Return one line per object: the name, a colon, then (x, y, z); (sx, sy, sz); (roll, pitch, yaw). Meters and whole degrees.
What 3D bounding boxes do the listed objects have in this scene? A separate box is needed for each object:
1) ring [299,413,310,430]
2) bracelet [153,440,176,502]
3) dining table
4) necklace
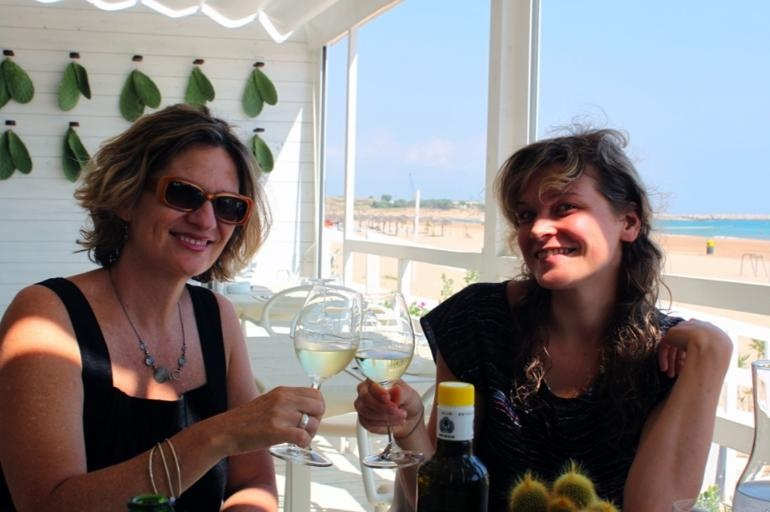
ring: (-0.191, 0.396, 1.506); (0.025, 0.032, 0.014); (1, 5, -8)
bracelet: (-0.520, 0.515, 1.486); (0.030, 0.112, 0.119); (-15, -8, -9)
dining table: (-0.147, 0.401, 1.963); (0.585, 0.788, 0.649); (13, -12, -28)
necklace: (-0.703, 0.180, 1.873); (0.086, 0.370, 0.190); (-24, -6, 38)
